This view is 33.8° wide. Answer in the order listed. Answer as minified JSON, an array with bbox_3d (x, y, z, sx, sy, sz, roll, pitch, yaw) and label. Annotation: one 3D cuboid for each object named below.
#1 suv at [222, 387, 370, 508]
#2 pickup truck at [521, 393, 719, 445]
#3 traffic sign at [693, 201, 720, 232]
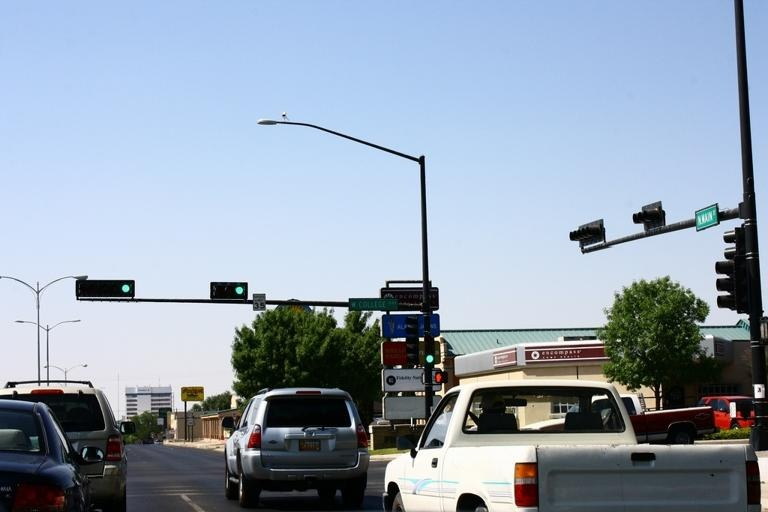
[{"bbox_3d":[-2.176,4.177,28.059,2.303,2.273,5.117,1,-6,-18],"label":"suv"},{"bbox_3d":[7.386,5.396,39.608,6.091,2.162,2.402,-3,-8,-10],"label":"pickup truck"},{"bbox_3d":[8.282,-0.918,32.272,0.439,0.599,1.438,-3,-9,7],"label":"traffic sign"}]
